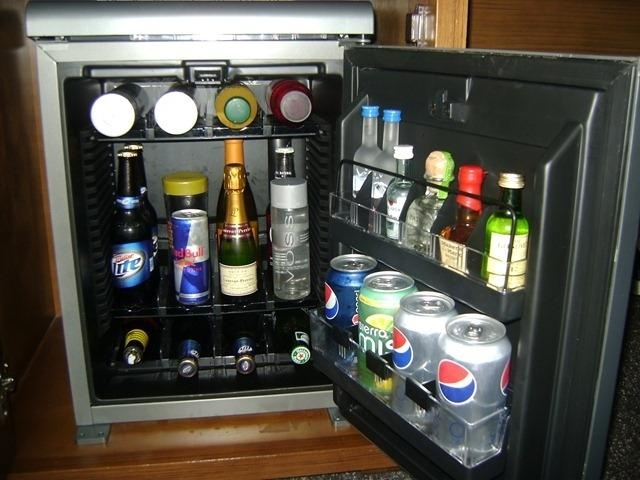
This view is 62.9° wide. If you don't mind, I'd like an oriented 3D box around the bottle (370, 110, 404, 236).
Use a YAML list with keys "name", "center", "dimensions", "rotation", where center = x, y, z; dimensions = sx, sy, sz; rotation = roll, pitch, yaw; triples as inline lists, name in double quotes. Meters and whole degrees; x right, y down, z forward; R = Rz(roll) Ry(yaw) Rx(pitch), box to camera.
- name: "bottle"
  center: [0.110, -0.136, 0.969]
  dimensions: [0.052, 0.212, 0.050]
  rotation: [-5, 14, 1]

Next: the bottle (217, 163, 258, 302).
- name: "bottle"
  center: [-0.199, -0.024, 1.228]
  dimensions: [0.097, 0.311, 0.134]
  rotation: [-5, 13, -8]

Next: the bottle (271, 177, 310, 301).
- name: "bottle"
  center: [-0.065, -0.002, 1.203]
  dimensions: [0.103, 0.286, 0.136]
  rotation: [-6, 13, -9]

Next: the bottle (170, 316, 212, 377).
- name: "bottle"
  center: [-0.316, 0.264, 1.275]
  dimensions: [0.114, 0.118, 0.169]
  rotation: [-10, 9, -9]

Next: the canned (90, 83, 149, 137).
- name: "canned"
  center: [-0.413, -0.263, 1.068]
  dimensions: [0.075, 0.076, 0.122]
  rotation: [-5, 14, -3]

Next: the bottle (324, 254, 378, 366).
- name: "bottle"
  center: [0.059, 0.122, 1.023]
  dimensions: [0.097, 0.164, 0.097]
  rotation: [2, 22, -1]

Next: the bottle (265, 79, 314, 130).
- name: "bottle"
  center: [-0.063, -0.294, 1.119]
  dimensions: [0.069, 0.093, 0.079]
  rotation: [-15, 17, -40]

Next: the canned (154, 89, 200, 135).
- name: "canned"
  center: [-0.293, -0.262, 1.073]
  dimensions: [0.085, 0.085, 0.044]
  rotation: [-4, 13, -1]

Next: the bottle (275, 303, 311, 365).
- name: "bottle"
  center: [-0.067, 0.241, 1.291]
  dimensions: [0.089, 0.132, 0.206]
  rotation: [-5, 14, -4]

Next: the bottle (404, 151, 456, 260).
- name: "bottle"
  center: [0.186, -0.061, 0.864]
  dimensions: [0.080, 0.173, 0.082]
  rotation: [2, 23, -1]

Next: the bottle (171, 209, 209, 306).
- name: "bottle"
  center: [-0.296, 0.041, 1.202]
  dimensions: [0.089, 0.216, 0.054]
  rotation: [-8, 14, -18]

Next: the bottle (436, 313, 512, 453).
- name: "bottle"
  center: [0.227, 0.224, 0.793]
  dimensions: [0.109, 0.185, 0.097]
  rotation: [-2, -7, 42]

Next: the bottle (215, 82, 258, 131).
- name: "bottle"
  center: [-0.178, -0.283, 1.115]
  dimensions: [0.084, 0.095, 0.080]
  rotation: [-6, 13, -8]

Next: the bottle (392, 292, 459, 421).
- name: "bottle"
  center: [0.152, 0.199, 0.861]
  dimensions: [0.064, 0.164, 0.065]
  rotation: [2, -11, 0]

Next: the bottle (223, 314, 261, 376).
- name: "bottle"
  center: [-0.184, 0.252, 1.291]
  dimensions: [0.097, 0.086, 0.177]
  rotation: [-2, 26, -11]

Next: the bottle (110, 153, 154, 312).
- name: "bottle"
  center: [-0.440, -0.027, 1.200]
  dimensions: [0.097, 0.353, 0.115]
  rotation: [-5, 13, -8]

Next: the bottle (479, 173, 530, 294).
- name: "bottle"
  center: [0.255, -0.016, 0.720]
  dimensions: [0.061, 0.149, 0.114]
  rotation: [2, 14, 22]
